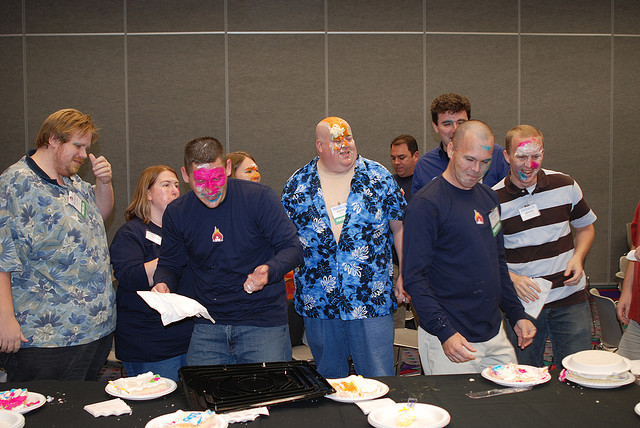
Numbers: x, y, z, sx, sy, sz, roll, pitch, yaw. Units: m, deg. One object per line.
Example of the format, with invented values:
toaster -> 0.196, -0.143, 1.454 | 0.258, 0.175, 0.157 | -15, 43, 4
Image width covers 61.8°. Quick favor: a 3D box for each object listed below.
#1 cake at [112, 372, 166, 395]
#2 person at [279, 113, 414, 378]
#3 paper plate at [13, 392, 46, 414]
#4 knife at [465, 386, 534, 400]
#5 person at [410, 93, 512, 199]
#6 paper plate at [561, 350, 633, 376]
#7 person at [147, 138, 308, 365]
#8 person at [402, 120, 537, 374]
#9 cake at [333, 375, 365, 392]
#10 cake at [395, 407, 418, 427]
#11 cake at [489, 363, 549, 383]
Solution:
cake -> -1.077, 1.008, 3.187 | 0.304, 0.084, 0.160 | -4, 6, -18
person -> 0.214, 0.547, 4.214 | 1.133, 2.550, 0.850 | -3, 11, 2
paper plate -> -1.662, 1.088, 3.092 | 0.141, 0.070, 0.171 | -3, 5, -10
knife -> 1.086, 1.057, 3.194 | 0.423, 0.024, 0.075 | -3, 5, -11
person -> 1.222, -0.602, 4.684 | 1.014, 0.820, 0.450 | -4, 13, 18
paper plate -> 1.716, 0.913, 3.318 | 0.396, 0.101, 0.223 | -1, 5, 12
person -> -0.655, 0.274, 3.730 | 1.036, 1.616, 0.437 | -1, 7, 10
person -> 0.983, 0.239, 3.707 | 0.557, 1.754, 0.706 | 4, 9, 44
cake -> 0.183, 1.013, 3.200 | 0.101, 0.029, 0.099 | -3, 7, 23
cake -> 0.476, 1.120, 2.956 | 0.118, 0.066, 0.093 | -7, 7, -42
cake -> 1.236, 0.980, 3.307 | 0.354, 0.057, 0.181 | -1, 5, 11
